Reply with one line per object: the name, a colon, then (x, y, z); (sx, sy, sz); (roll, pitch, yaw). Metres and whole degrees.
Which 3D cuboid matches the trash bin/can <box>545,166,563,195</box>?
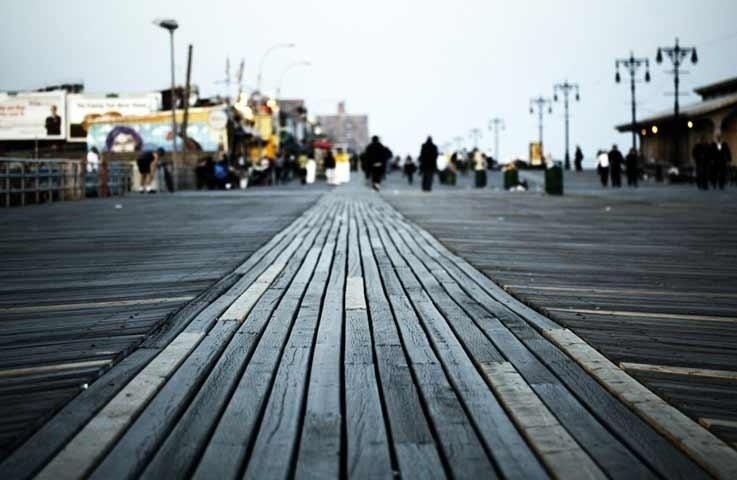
trash bin/can: (7.465, -2.412, 25.373); (0.627, 1.195, 0.780); (1, 5, 12)
